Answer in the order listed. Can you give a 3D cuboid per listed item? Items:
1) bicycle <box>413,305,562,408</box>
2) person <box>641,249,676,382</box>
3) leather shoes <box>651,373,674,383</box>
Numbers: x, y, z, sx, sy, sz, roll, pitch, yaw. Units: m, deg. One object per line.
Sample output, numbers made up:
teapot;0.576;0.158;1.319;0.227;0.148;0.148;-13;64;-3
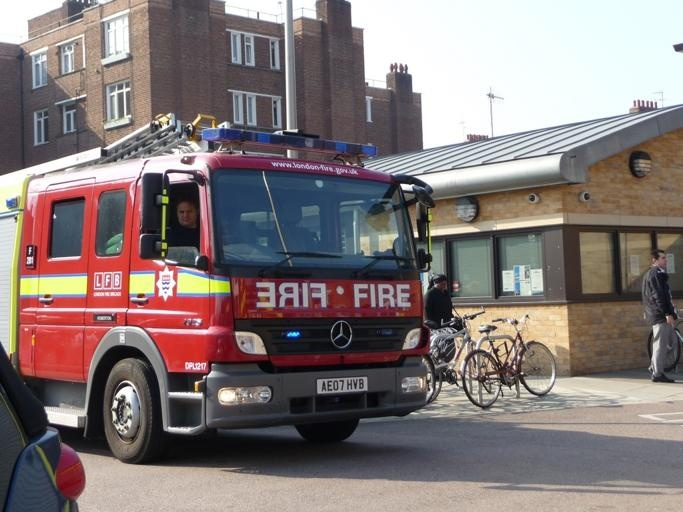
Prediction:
bicycle;2.577;1.629;14.042;2.730;1.519;1.150;-2;0;-29
person;5.726;1.074;15.361;0.581;2.333;0.723;1;-2;21
leather shoes;5.717;2.155;15.105;0.422;0.182;0.143;0;-3;-8
